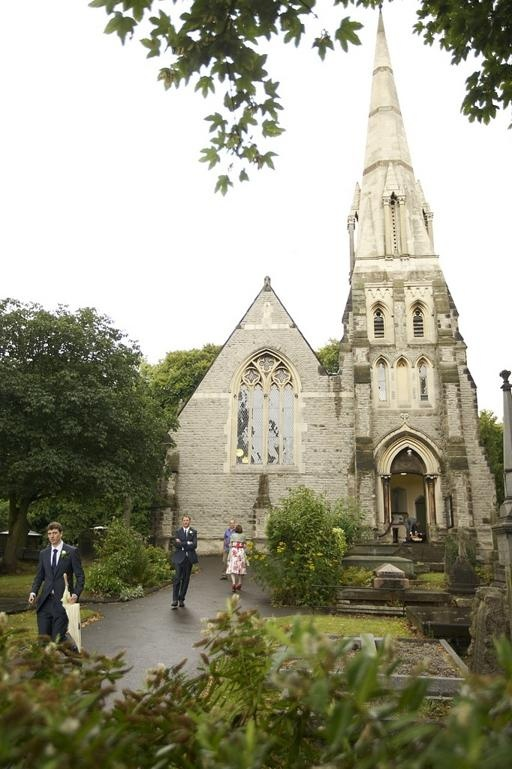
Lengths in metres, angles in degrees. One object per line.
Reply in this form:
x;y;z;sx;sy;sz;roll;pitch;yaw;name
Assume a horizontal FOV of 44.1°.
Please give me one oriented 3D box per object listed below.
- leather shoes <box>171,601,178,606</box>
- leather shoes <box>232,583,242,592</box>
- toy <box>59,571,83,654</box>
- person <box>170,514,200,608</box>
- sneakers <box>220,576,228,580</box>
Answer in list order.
-1.683;4.507;12.968;0.080;0.094;0.216;1;-3;2;leather shoes
-0.462;4.881;15.113;0.165;0.190;0.494;2;-7;4;leather shoes
-2.122;2.629;7.235;0.218;0.915;0.173;-4;1;31;toy
-1.542;3.883;13.561;0.479;1.619;1.116;3;-12;-7;person
-0.984;5.882;19.190;0.154;0.081;0.147;3;-1;-9;sneakers
